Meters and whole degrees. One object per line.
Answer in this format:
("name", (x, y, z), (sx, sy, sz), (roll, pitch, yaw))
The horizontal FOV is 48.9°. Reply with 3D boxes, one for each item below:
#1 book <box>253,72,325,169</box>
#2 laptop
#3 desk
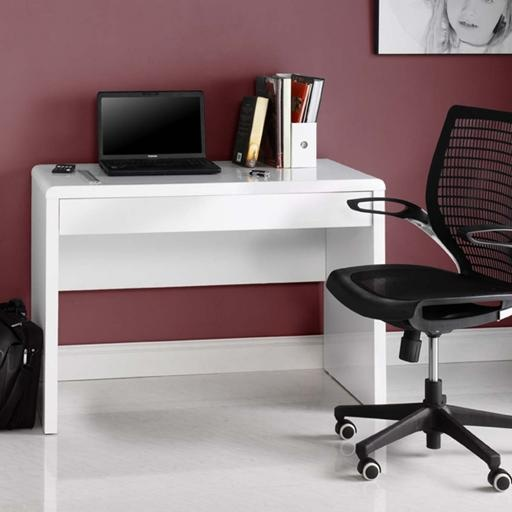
("book", (0.093, -0.514, 2.144), (0.330, 0.358, 0.159), (6, 9, 44))
("laptop", (-0.379, -0.461, 2.178), (0.430, 0.254, 0.323), (-1, -3, -9))
("desk", (-0.204, 0.142, 2.042), (1.022, 0.688, 0.479), (-1, 5, -17))
